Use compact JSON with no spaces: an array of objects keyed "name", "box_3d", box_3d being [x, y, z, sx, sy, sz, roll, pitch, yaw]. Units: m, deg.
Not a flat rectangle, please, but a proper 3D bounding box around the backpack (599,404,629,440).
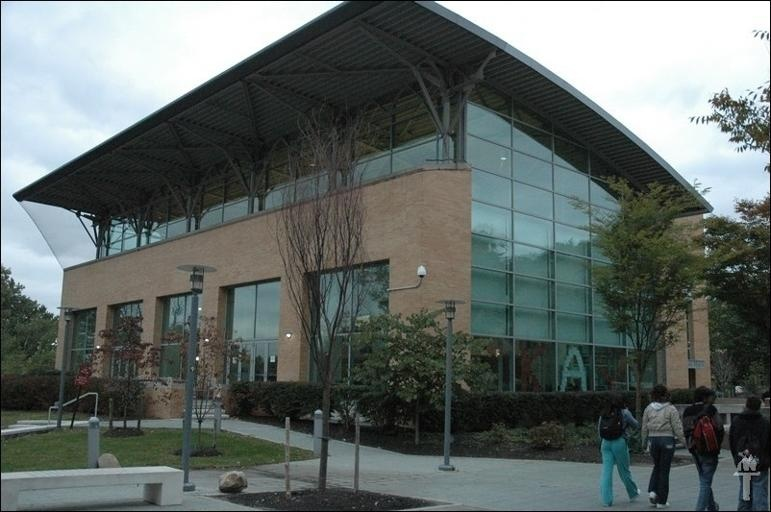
[{"name":"backpack","box_3d":[5.608,4.068,17.209,0.659,0.820,0.497,-10,-32,38]}]
